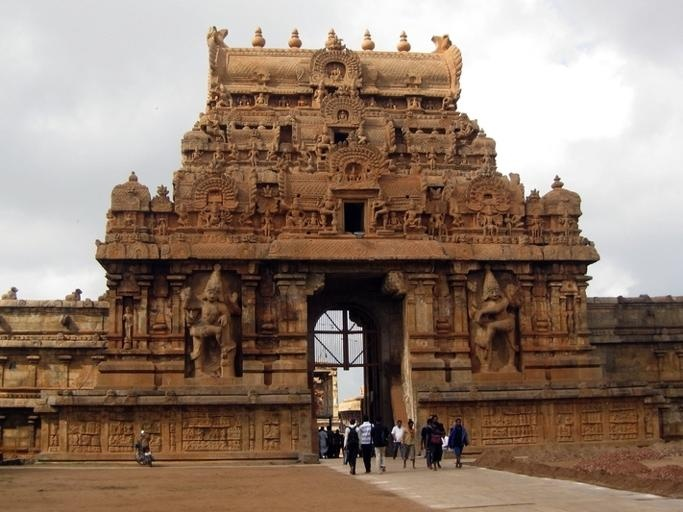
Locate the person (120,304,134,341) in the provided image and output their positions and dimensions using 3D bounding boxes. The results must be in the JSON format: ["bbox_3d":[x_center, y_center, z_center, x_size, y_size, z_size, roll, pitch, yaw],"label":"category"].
[{"bbox_3d":[-6.377,2.030,39.470,0.346,1.137,0.155,1,-14,-6],"label":"person"}]

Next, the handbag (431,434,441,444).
[{"bbox_3d":[2.608,5.029,36.344,0.247,0.180,0.254,0,-9,3],"label":"handbag"}]

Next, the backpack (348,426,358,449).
[{"bbox_3d":[0.303,4.988,36.134,0.282,0.512,0.349,-3,-36,8],"label":"backpack"}]

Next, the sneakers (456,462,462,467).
[{"bbox_3d":[3.260,5.803,36.666,0.116,0.103,0.194,-1,-8,13],"label":"sneakers"}]

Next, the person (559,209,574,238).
[{"bbox_3d":[7.054,-0.931,41.149,0.578,1.033,0.203,4,-15,-19],"label":"person"}]

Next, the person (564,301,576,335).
[{"bbox_3d":[7.058,1.861,40.778,0.299,1.090,0.100,2,-14,-11],"label":"person"}]

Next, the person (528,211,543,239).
[{"bbox_3d":[6.061,-0.804,41.107,0.418,0.864,0.159,-2,-14,6],"label":"person"}]
